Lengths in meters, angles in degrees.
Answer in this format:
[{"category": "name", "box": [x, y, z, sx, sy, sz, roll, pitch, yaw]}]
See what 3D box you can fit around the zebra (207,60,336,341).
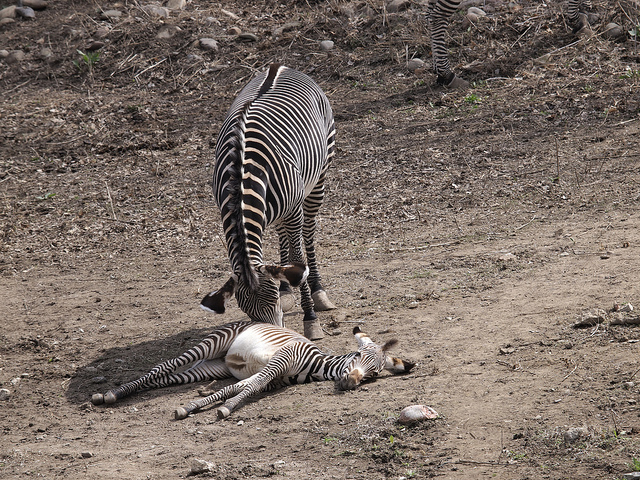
[{"category": "zebra", "box": [-0.523, -0.502, 13.285, 1.276, 3.011, 2.391, -3, 7, 2]}]
